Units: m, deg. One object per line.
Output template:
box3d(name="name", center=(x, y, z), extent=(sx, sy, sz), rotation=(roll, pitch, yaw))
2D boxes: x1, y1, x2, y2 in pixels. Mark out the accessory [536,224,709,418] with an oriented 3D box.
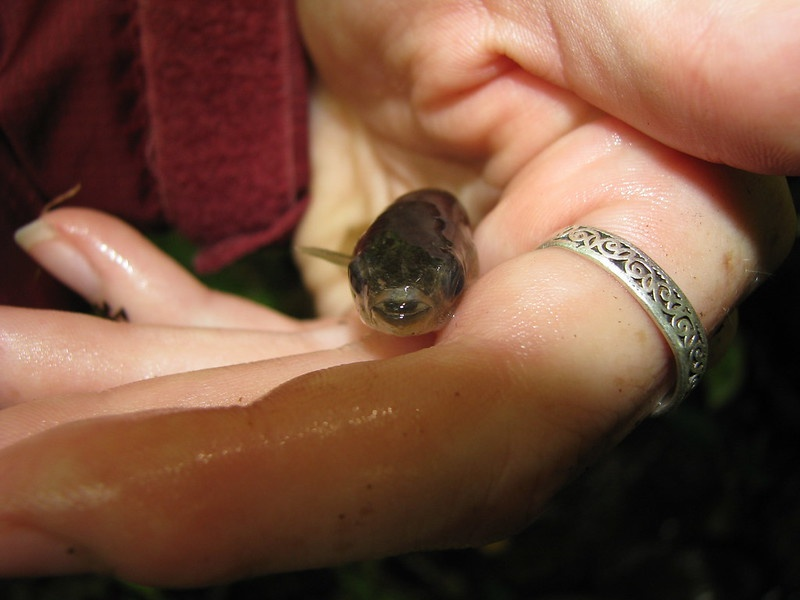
box3d(name="accessory", center=(0.201, -0.006, 0.748), extent=(0.211, 0.217, 0.042), rotation=(36, 83, 35))
